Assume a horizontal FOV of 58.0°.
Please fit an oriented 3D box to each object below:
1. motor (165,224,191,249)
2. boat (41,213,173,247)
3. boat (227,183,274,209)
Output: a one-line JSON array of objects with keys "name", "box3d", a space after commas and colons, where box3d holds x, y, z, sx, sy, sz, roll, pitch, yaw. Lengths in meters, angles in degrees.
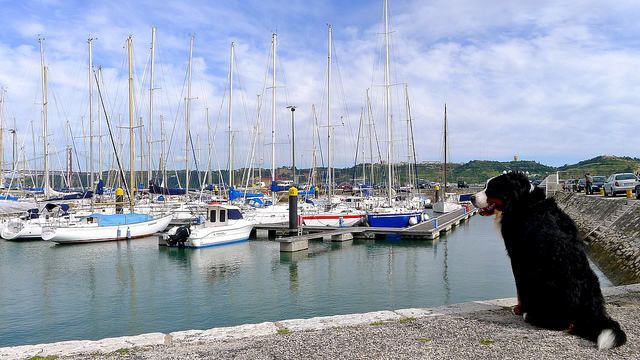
[{"name": "motor", "box3d": [-10.257, 4.204, 41.992, 1.707, 1.492, 0.694, -4, 11, -16]}, {"name": "boat", "box3d": [-16.909, 3.732, 45.054, 9.831, 1.717, 3.007, -4, 6, -32]}, {"name": "boat", "box3d": [-6.369, 1.632, 52.461, 3.120, 1.248, 3.614, 3, 4, -5]}]
